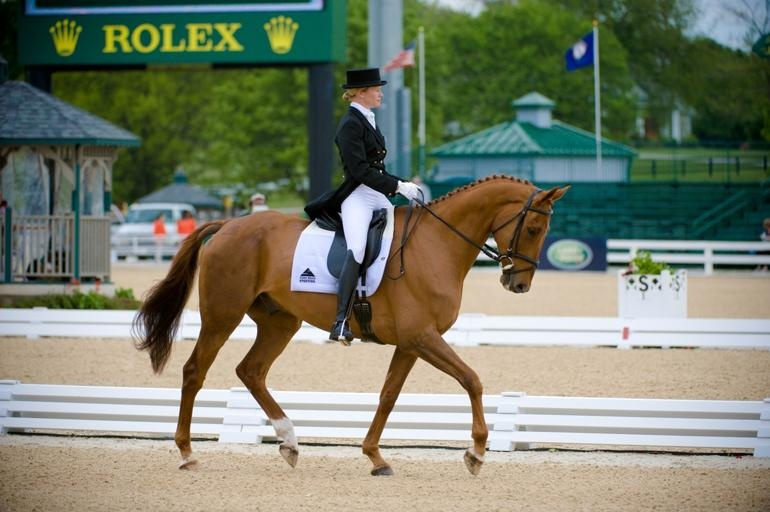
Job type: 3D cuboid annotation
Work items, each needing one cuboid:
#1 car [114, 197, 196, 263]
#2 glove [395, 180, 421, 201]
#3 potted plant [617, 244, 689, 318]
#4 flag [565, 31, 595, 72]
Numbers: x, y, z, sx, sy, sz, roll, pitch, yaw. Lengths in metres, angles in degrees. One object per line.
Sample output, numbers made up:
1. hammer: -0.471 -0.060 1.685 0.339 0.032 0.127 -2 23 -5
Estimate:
1. car: -4.249 -0.303 28.000 1.033 0.987 2.012 1 11 -6
2. glove: 0.297 -0.791 19.346 0.221 0.256 0.365 -15 -9 33
3. potted plant: 3.812 0.448 22.373 0.963 0.786 1.006 -5 -7 -26
4. flag: 3.418 -3.546 27.888 0.498 0.263 0.671 35 -31 1
